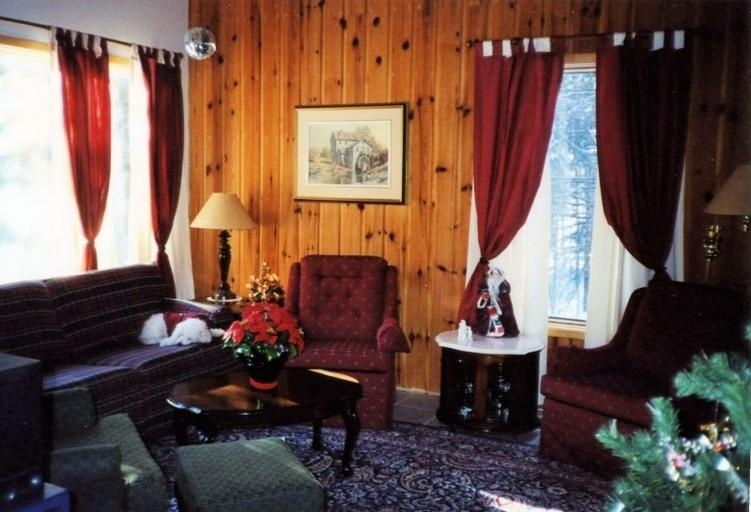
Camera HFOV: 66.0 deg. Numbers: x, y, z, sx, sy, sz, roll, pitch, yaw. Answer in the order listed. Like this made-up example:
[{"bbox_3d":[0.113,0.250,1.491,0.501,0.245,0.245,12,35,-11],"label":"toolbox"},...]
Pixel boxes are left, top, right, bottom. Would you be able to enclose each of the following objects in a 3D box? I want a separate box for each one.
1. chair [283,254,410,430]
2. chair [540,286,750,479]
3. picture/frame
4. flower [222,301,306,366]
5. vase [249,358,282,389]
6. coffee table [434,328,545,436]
[{"bbox_3d":[-0.239,0.632,4.674,1.182,1.269,1.090,2,2,16],"label":"chair"},{"bbox_3d":[1.750,0.794,3.841,0.974,1.205,0.940,-5,12,-33],"label":"chair"},{"bbox_3d":[-0.175,-0.936,5.158,0.963,0.806,0.047,2,2,20],"label":"picture/frame"},{"bbox_3d":[-0.672,0.463,3.699,0.392,0.243,0.397,12,16,33],"label":"flower"},{"bbox_3d":[-0.696,0.749,3.648,0.193,0.165,0.204,0,-4,2],"label":"vase"},{"bbox_3d":[0.850,0.883,4.311,0.780,0.594,0.718,3,10,18],"label":"coffee table"}]
